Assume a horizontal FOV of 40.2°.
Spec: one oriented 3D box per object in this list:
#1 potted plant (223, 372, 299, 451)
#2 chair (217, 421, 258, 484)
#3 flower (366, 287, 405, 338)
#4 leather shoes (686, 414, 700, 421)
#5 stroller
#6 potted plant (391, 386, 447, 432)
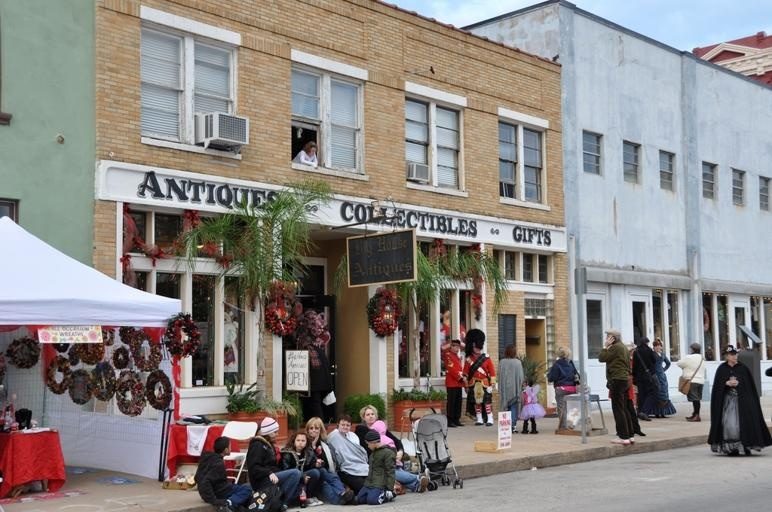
[{"bbox_3d":[-2.910,3.629,24.618,1.400,1.271,1.323,-2,-7,12],"label":"potted plant"},{"bbox_3d":[-2.968,3.903,20.957,0.598,1.152,0.739,11,6,31],"label":"chair"},{"bbox_3d":[-0.047,1.470,27.407,0.918,1.299,0.389,-2,-11,0],"label":"flower"},{"bbox_3d":[8.626,4.551,29.616,0.420,0.199,0.145,1,-3,16],"label":"leather shoes"},{"bbox_3d":[1.186,3.943,21.833,0.837,1.600,1.389,2,-2,-35],"label":"stroller"},{"bbox_3d":[0.790,3.813,27.342,1.581,1.171,0.987,1,-7,-16],"label":"potted plant"}]
